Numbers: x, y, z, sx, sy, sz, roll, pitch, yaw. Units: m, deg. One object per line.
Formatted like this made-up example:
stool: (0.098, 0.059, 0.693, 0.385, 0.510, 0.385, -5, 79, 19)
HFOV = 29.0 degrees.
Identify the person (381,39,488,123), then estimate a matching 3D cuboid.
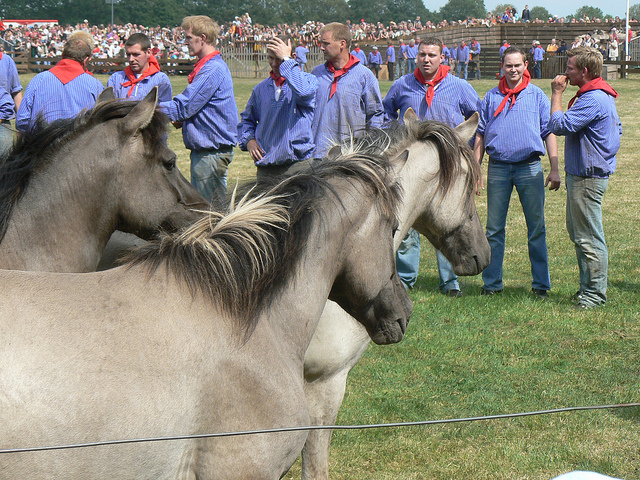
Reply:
person: (1.283, -1.779, 14.152, 1.221, 0.943, 0.574, 3, 5, 14)

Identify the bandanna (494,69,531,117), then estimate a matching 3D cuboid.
bandanna: (2.285, -1.746, 14.505, 0.358, 0.599, 0.108, 14, -15, 39)

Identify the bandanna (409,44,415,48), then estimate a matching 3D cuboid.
bandanna: (2.900, -6.052, 38.694, 0.153, 0.037, 0.152, 1, -8, 0)

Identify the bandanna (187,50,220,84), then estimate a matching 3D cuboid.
bandanna: (-1.323, -1.949, 14.058, 0.358, 0.358, 0.484, -2, 13, -4)

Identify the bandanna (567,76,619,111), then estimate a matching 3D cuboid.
bandanna: (3.145, -1.749, 13.990, 0.535, 0.227, 0.363, 17, 3, 26)

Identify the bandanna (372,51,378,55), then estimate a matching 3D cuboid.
bandanna: (1.939, -6.427, 42.705, 0.210, 0.056, 0.210, 0, 41, 2)

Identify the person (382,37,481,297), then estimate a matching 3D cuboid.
person: (1.292, -0.775, 14.250, 1.135, 3.047, 1.511, 1, 13, 7)

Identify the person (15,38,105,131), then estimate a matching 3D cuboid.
person: (-2.820, -1.661, 13.272, 0.928, 0.938, 0.569, -4, 13, -12)

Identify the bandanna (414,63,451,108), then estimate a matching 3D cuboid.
bandanna: (1.291, -1.752, 14.047, 0.407, 0.476, 0.359, -1, 13, 0)

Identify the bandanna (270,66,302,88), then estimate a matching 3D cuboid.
bandanna: (-0.431, -1.778, 13.534, 0.131, 0.153, 0.172, 11, 38, 25)

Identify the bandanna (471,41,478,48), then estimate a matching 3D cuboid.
bandanna: (5.513, -6.843, 43.511, 0.198, 0.231, 0.119, -4, 16, -7)

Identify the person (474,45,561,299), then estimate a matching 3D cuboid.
person: (2.270, -0.782, 14.570, 1.084, 2.883, 0.858, -1, 6, -4)

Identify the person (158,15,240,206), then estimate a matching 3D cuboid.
person: (-1.350, -1.479, 14.079, 0.722, 2.902, 0.761, 1, 19, -5)

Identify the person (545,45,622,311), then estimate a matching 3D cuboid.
person: (3.066, -0.709, 14.206, 0.715, 2.944, 0.711, -8, 15, -27)
